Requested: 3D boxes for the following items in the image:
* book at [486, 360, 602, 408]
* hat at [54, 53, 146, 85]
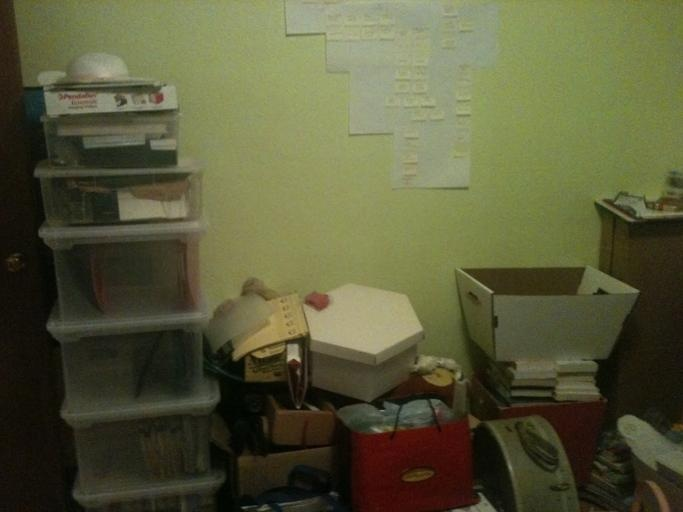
[{"bbox_3d":[0.990,0.591,3.260,0.275,0.108,0.285,0,5,3],"label":"book"},{"bbox_3d":[-0.965,-0.738,2.706,0.236,0.105,0.114,-10,20,-21],"label":"hat"}]
